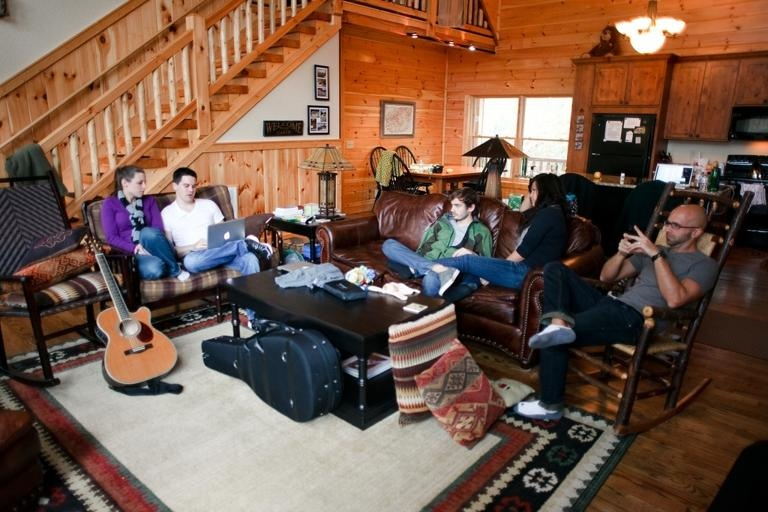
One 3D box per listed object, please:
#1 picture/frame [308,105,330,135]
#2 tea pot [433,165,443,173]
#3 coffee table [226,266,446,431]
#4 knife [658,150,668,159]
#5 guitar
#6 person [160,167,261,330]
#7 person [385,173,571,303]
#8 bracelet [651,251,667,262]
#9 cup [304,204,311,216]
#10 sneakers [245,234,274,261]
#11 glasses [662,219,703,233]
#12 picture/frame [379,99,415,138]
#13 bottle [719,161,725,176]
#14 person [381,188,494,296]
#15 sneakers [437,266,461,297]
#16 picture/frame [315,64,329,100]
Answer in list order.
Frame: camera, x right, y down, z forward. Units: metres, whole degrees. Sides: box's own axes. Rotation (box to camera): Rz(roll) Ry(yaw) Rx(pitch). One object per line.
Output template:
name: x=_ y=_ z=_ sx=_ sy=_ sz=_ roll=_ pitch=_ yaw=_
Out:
picture/frame: x=-0.909 y=-1.855 z=7.129 sx=0.015 sy=0.387 sz=0.412 roll=13 pitch=17 yaw=41
tea pot: x=0.846 y=-1.367 z=8.292 sx=0.124 sy=0.131 sz=0.196 roll=18 pitch=28 yaw=37
coffee table: x=-0.231 y=0.271 z=3.754 sx=1.602 sy=0.655 sz=0.936 roll=15 pitch=24 yaw=40
knife: x=4.108 y=-1.470 z=7.749 sx=0.057 sy=0.117 sz=0.175 roll=-15 pitch=44 yaw=29
guitar: x=-1.857 y=0.422 z=3.809 sx=0.135 sy=0.979 sz=0.438 roll=-41 pitch=-19 yaw=32
person: x=-1.559 y=-0.100 z=4.706 sx=1.082 sy=1.319 sz=0.731 roll=7 pitch=16 yaw=39
person: x=0.782 y=-0.172 z=4.396 sx=1.665 sy=0.883 sz=0.908 roll=-14 pitch=34 yaw=-22
bracelet: x=1.780 y=0.003 z=3.414 sx=0.068 sy=0.027 sz=0.068 roll=-25 pitch=-6 yaw=5
cup: x=-0.806 y=-0.470 z=5.528 sx=0.077 sy=0.095 sz=0.227 roll=-4 pitch=15 yaw=-7
sneakers: x=-1.155 y=-0.074 z=4.904 sx=0.298 sy=0.148 sz=0.123 roll=39 pitch=32 yaw=1
glasses: x=1.975 y=-0.200 z=3.463 sx=0.175 sy=0.056 sz=0.054 roll=0 pitch=16 yaw=8
picture/frame: x=0.192 y=-2.418 z=9.202 sx=0.029 sy=0.517 sz=0.770 roll=13 pitch=20 yaw=41
bottle: x=4.901 y=-1.268 z=7.628 sx=0.074 sy=0.180 sz=0.305 roll=8 pitch=18 yaw=29
person: x=0.456 y=-0.080 z=4.434 sx=0.977 sy=0.820 sz=1.233 roll=4 pitch=19 yaw=10
sneakers: x=0.485 y=0.185 z=4.160 sx=0.138 sy=0.288 sz=0.098 roll=26 pitch=36 yaw=2
picture/frame: x=-0.844 y=-2.318 z=7.057 sx=0.065 sy=0.452 sz=0.272 roll=9 pitch=20 yaw=32
